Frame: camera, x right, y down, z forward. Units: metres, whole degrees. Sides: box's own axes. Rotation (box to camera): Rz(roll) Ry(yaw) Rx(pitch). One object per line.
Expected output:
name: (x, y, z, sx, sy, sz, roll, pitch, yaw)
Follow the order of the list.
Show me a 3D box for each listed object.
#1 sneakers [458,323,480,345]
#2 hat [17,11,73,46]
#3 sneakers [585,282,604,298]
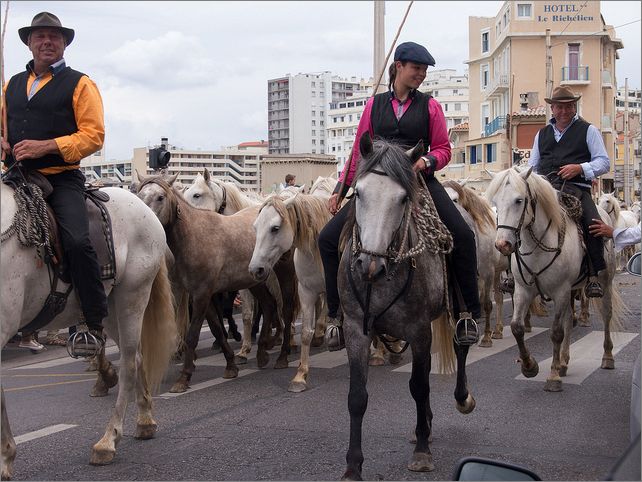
sneakers: (1.460, 0.948, 6.882, 0.227, 0.299, 0.260, -2, 6, 10)
hat: (-2.610, -2.072, 6.525, 0.412, 0.181, 0.456, -7, 5, -24)
sneakers: (3.822, 0.719, 9.628, 0.186, 0.180, 0.219, 4, -12, 3)
